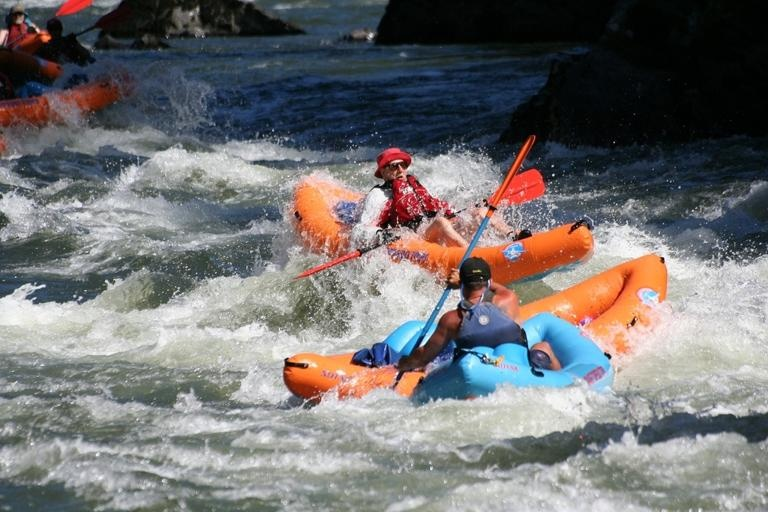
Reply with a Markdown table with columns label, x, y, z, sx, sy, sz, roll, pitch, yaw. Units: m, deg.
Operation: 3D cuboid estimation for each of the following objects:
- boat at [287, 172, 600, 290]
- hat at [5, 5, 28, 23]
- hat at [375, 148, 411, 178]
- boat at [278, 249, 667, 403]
| label | x | y | z | sx | sy | sz | roll | pitch | yaw |
| --- | --- | --- | --- | --- | --- | --- | --- | --- | --- |
| boat | 0.717 | -0.744 | 14.657 | 2.760 | 1.362 | 2.879 | -27 | 21 | -33 |
| hat | -7.290 | -4.877 | 21.063 | 0.461 | 0.349 | 0.574 | -4 | -5 | -14 |
| hat | 0.050 | -1.431 | 15.371 | 0.423 | 0.177 | 0.476 | -6 | -23 | -38 |
| boat | 1.512 | 1.153 | 13.219 | 4.317 | 0.971 | 1.989 | -15 | 23 | -7 |
